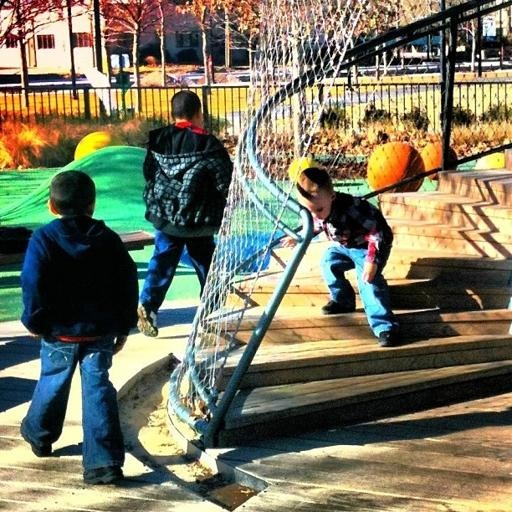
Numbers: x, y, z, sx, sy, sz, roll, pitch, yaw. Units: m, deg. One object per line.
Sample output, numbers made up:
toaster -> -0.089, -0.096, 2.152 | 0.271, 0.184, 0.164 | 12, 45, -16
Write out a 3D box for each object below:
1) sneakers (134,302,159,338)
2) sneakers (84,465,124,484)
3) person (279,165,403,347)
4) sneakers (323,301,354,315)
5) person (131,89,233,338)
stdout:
sneakers -> -0.720, 0.442, 4.310 | 0.092, 0.264, 0.202 | -19, 53, -27
sneakers -> -0.641, 0.926, 2.775 | 0.175, 0.075, 0.065 | 2, 0, 4
person -> 0.509, 0.003, 3.652 | 0.540, 1.030, 0.799 | -6, 12, 11
sneakers -> 0.513, 0.336, 4.045 | 0.221, 0.071, 0.072 | 2, 2, -7
person -> -0.510, -0.254, 4.363 | 0.827, 1.663, 0.622 | -9, 12, 0
